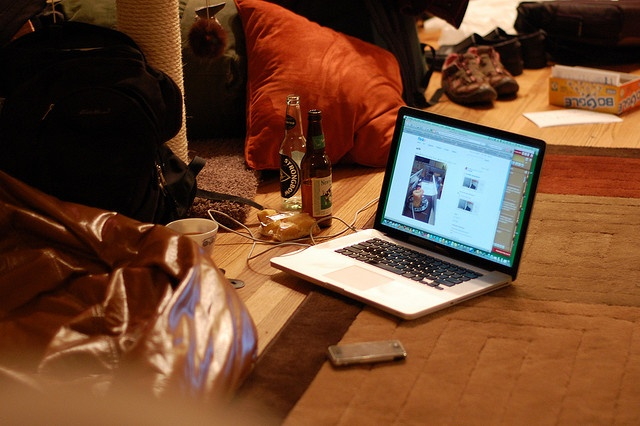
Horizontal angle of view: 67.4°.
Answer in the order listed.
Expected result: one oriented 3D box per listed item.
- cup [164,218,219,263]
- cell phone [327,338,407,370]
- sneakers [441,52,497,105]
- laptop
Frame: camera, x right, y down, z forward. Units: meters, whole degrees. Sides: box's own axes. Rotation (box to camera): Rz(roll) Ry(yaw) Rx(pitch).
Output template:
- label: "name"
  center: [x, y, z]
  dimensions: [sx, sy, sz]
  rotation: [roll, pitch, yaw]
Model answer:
- label: "cup"
  center: [-0.271, 0.042, 1.030]
  dimensions: [0.096, 0.071, 0.091]
  rotation: [-1, 18, 0]
- label: "cell phone"
  center: [0.089, 0.250, 0.848]
  dimensions: [0.106, 0.017, 0.053]
  rotation: [-4, 32, -7]
- label: "sneakers"
  center: [0.680, -0.613, 2.200]
  dimensions: [0.173, 0.189, 0.308]
  rotation: [-4, 27, -2]
- label: "laptop"
  center: [0.192, 0.002, 1.031]
  dimensions: [0.490, 0.333, 0.487]
  rotation: [-11, 21, -34]
